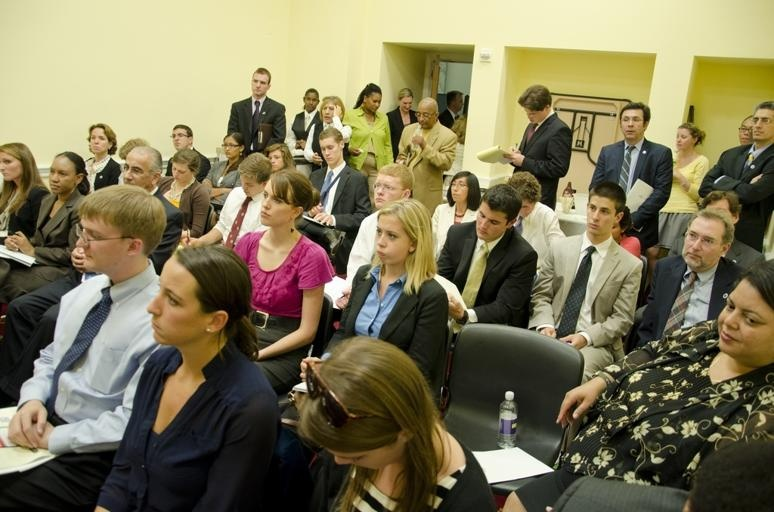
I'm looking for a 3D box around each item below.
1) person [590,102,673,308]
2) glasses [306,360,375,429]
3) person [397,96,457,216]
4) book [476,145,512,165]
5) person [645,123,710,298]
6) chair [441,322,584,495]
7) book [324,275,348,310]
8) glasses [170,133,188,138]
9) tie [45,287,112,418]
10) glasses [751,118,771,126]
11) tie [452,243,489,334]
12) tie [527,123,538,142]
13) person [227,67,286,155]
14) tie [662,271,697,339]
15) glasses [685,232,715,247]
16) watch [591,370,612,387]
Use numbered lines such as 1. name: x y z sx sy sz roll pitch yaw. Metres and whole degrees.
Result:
1. person: 2.611 -0.356 6.187 0.863 2.579 0.781 8 21 38
2. glasses: -0.167 0.500 2.097 0.196 0.061 0.202 46 14 33
3. person: 0.403 -1.061 7.608 0.696 2.018 0.588 24 38 26
4. book: 1.056 -0.976 5.537 0.233 0.077 0.331 11 -8 -17
5. person: 3.512 -0.486 6.738 0.638 2.049 0.650 -18 21 -10
6. chair: 0.925 0.857 3.619 0.746 0.989 0.815 6 2 25
7. book: -0.391 0.245 4.287 0.188 0.067 0.287 -14 33 -27
8. glasses: -2.872 -1.665 7.836 0.187 0.077 0.066 4 12 -1
9. tie: -1.589 0.509 2.937 0.093 0.687 0.099 22 -11 40
10. glasses: 3.688 -1.335 5.631 0.071 0.076 0.187 2 11 -8
11. tie: 0.614 0.239 4.143 0.095 0.691 0.080 25 3 37
12. tie: 1.604 -1.387 6.351 0.062 0.181 0.125 14 -2 -18
13. person: -1.878 -2.081 8.191 0.808 1.195 0.420 1 13 -14
14. tie: 2.005 0.338 3.891 0.086 0.452 0.055 17 -11 39
15. glasses: 2.172 -0.118 3.957 0.177 0.065 0.054 15 16 43
16. watch: 1.185 0.660 3.148 0.093 0.046 0.071 -37 16 -27
